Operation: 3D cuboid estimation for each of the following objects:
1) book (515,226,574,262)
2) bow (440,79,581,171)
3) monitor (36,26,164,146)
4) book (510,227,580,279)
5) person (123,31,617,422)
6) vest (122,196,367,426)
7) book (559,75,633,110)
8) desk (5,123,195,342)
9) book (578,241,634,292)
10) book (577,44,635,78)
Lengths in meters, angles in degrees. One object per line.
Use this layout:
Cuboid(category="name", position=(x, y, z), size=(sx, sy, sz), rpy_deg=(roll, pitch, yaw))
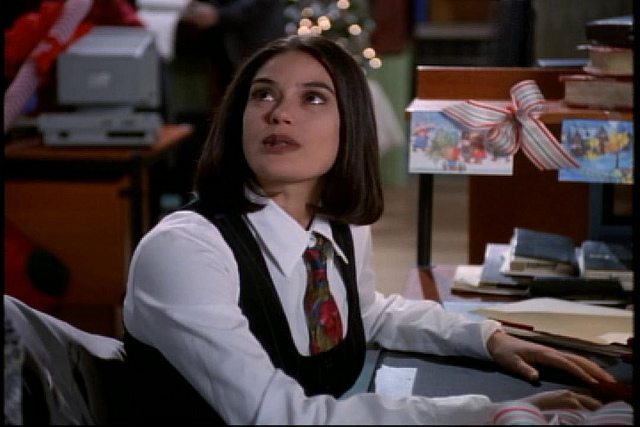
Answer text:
Cuboid(category="book", position=(0.616, 0.085, 2.320), size=(0.100, 0.032, 0.116), rpy_deg=(7, 13, 2))
Cuboid(category="bow", position=(0.501, -0.234, 2.233), size=(0.359, 0.225, 0.121), rpy_deg=(0, 7, 10))
Cuboid(category="monitor", position=(-0.829, -0.454, 3.147), size=(0.440, 0.343, 0.361), rpy_deg=(1, 14, -8))
Cuboid(category="book", position=(0.612, 0.107, 2.303), size=(0.182, 0.110, 0.175), rpy_deg=(1, 8, 13))
Cuboid(category="person", position=(0.123, 0.106, 1.955), size=(0.994, 0.747, 0.843), rpy_deg=(0, 5, 27))
Cuboid(category="vest", position=(-0.144, 0.212, 2.022), size=(0.618, 0.502, 0.268), rpy_deg=(-7, 10, -40))
Cuboid(category="book", position=(0.718, -0.311, 2.155), size=(0.091, 0.090, 0.311), rpy_deg=(-4, 9, -22))
Cuboid(category="desk", position=(-0.925, 0.011, 3.533), size=(0.873, 0.998, 0.749), rpy_deg=(1, 12, 3))
Cuboid(category="book", position=(0.763, 0.130, 2.251), size=(0.127, 0.098, 0.140), rpy_deg=(-1, 2, 2))
Cuboid(category="book", position=(0.717, -0.380, 2.118), size=(0.126, 0.062, 0.170), rpy_deg=(5, 10, 18))
